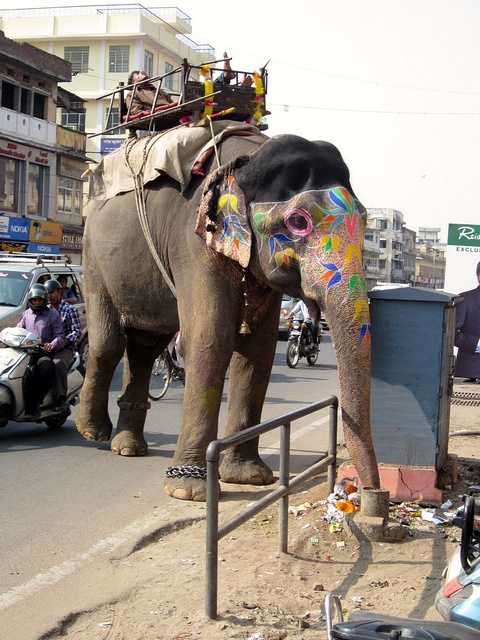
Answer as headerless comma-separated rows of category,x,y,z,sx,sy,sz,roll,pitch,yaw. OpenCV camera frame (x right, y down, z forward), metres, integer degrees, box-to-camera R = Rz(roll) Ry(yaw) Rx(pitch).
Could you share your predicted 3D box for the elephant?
elephant,-0.191,-0.019,5.836,1.386,2.528,3.616,3,-2,-42
